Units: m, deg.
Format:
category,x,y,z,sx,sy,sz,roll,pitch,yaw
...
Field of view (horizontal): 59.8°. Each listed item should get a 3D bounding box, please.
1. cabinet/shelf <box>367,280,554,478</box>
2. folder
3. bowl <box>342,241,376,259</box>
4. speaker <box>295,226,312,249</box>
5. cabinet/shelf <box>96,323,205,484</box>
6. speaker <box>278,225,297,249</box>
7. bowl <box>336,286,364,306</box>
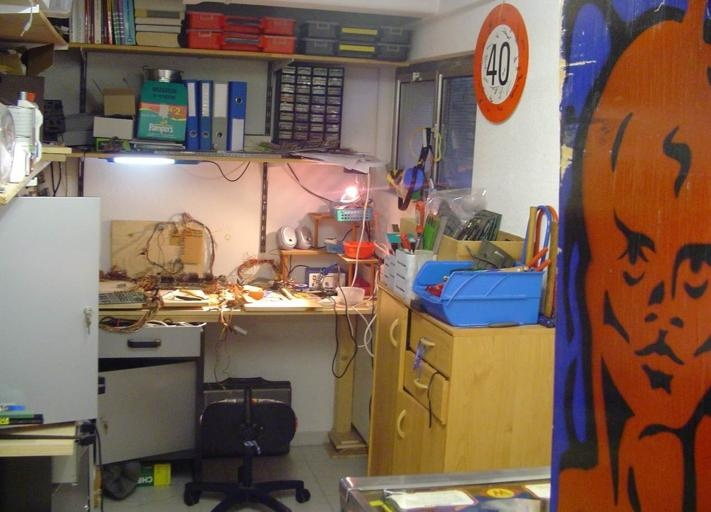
category,x,y,z,sx,sy,sz,roll,pitch,yaw
cabinet/shelf,0.366,0.515,2.424,0.491,0.757,0.722,0,7,-12
folder,-0.786,-0.800,3.580,0.353,0.496,0.501,0,9,-9
bowl,0.026,-0.034,3.844,0.131,0.061,0.134,0,8,0
speaker,-0.331,-0.114,3.939,0.099,0.132,0.134,3,2,-30
cabinet/shelf,-1.129,0.745,3.439,0.633,0.944,0.731,0,5,-15
speaker,-0.436,-0.112,3.928,0.110,0.157,0.078,10,-21,-44
bowl,-0.041,0.249,3.725,0.176,0.123,0.192,2,-10,0
